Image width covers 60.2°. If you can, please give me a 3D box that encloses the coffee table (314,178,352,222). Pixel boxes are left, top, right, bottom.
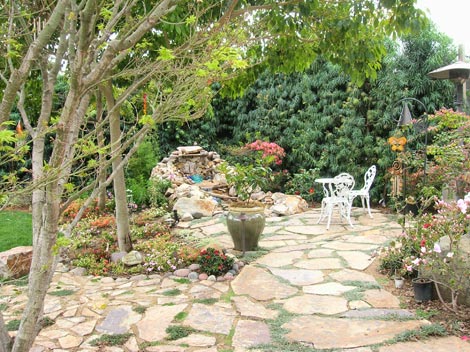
[{"bbox_3d":[2.093,0.518,8.418,0.835,1.013,0.847,3,4,32],"label":"coffee table"}]

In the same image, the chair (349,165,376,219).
[{"bbox_3d":[2.562,0.311,8.416,0.661,0.970,0.620,1,7,20],"label":"chair"}]

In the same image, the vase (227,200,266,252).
[{"bbox_3d":[0.180,0.878,6.834,0.652,0.742,0.671,3,6,18],"label":"vase"}]

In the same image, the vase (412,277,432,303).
[{"bbox_3d":[2.227,1.365,4.911,0.247,0.248,0.241,-3,1,-37],"label":"vase"}]

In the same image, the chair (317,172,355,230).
[{"bbox_3d":[2.104,0.482,8.400,0.844,1.114,0.785,-2,6,-25],"label":"chair"}]

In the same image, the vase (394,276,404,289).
[{"bbox_3d":[2.115,1.372,5.239,0.117,0.096,0.123,-1,2,-3],"label":"vase"}]
